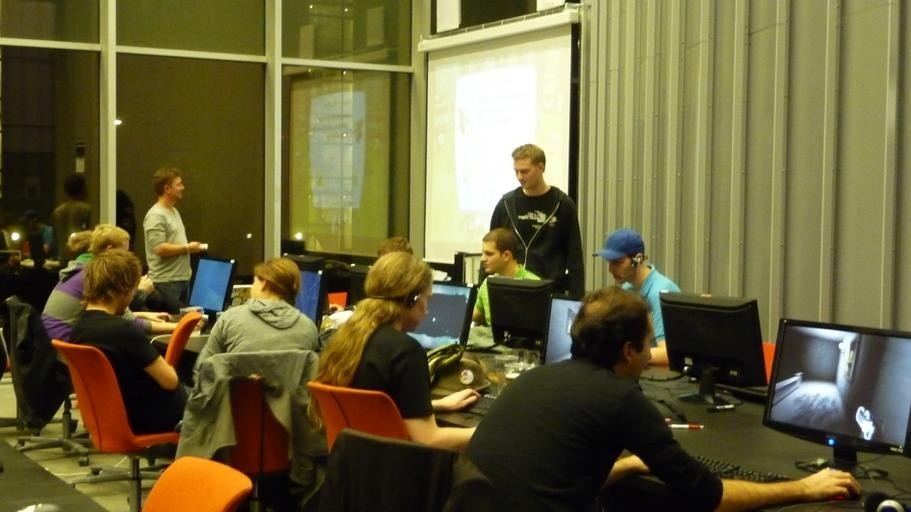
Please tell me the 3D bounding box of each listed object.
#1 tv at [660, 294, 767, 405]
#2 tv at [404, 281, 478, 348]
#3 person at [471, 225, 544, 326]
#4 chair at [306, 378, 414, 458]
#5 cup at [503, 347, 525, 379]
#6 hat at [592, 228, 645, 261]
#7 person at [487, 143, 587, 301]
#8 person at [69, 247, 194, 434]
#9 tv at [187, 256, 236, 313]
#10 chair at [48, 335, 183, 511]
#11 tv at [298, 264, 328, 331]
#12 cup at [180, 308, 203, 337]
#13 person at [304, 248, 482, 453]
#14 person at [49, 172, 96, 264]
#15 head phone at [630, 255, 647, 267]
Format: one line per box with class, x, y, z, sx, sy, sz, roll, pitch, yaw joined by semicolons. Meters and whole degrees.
tv;1.720;0.623;5.376;0.649;0.618;0.254;6;14;40
tv;-0.021;0.371;6.153;0.551;0.457;0.524;13;30;19
person;0.530;0.146;6.972;0.704;1.045;0.811;1;2;-1
chair;-0.575;0.891;4.863;0.427;0.573;0.523;4;10;35
cup;0.403;0.744;5.617;0.153;0.187;0.187;3;-6;-28
hat;1.240;-0.091;6.050;0.430;0.243;0.295;-3;4;-21
person;0.731;0.003;7.226;0.865;1.962;0.529;8;18;34
person;-2.375;0.661;6.157;0.910;1.365;1.107;-2;-4;23
tv;-2.225;0.269;7.433;0.071;0.382;0.505;10;-2;-38
chair;-2.349;1.208;5.960;0.748;1.272;0.790;1;4;14
tv;-1.112;0.331;6.386;0.067;0.569;0.503;1;1;-36
cup;-2.142;0.543;6.621;0.198;0.224;0.252;-1;7;-3
person;-0.274;0.664;5.171;1.094;1.293;0.927;1;-10;13
person;-4.451;-0.383;9.406;0.442;1.118;0.302;24;28;11
head phone;1.368;0.031;6.027;0.106;0.090;0.073;14;-11;-18
